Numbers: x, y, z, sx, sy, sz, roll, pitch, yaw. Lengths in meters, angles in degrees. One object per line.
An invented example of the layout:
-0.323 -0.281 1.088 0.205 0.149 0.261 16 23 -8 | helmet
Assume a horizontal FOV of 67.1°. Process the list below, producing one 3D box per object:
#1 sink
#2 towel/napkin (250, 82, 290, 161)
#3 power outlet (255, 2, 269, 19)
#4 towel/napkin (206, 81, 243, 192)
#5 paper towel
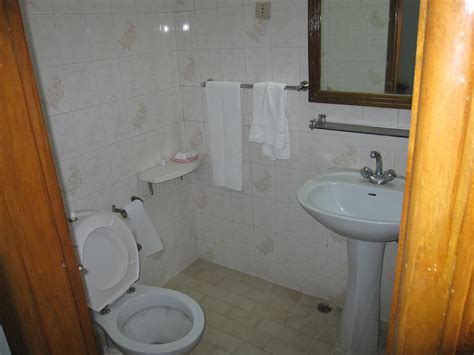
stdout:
0.585 0.157 1.879 0.507 0.227 0.550 9 27 26 | sink
0.196 -0.334 2.168 0.257 0.465 0.125 16 29 38 | towel/napkin
0.152 -0.977 2.103 0.089 0.093 0.087 7 23 30 | power outlet
-0.093 -0.276 2.387 0.275 0.700 0.104 10 25 28 | towel/napkin
-0.594 0.307 2.322 0.187 0.391 0.090 -23 14 17 | paper towel
